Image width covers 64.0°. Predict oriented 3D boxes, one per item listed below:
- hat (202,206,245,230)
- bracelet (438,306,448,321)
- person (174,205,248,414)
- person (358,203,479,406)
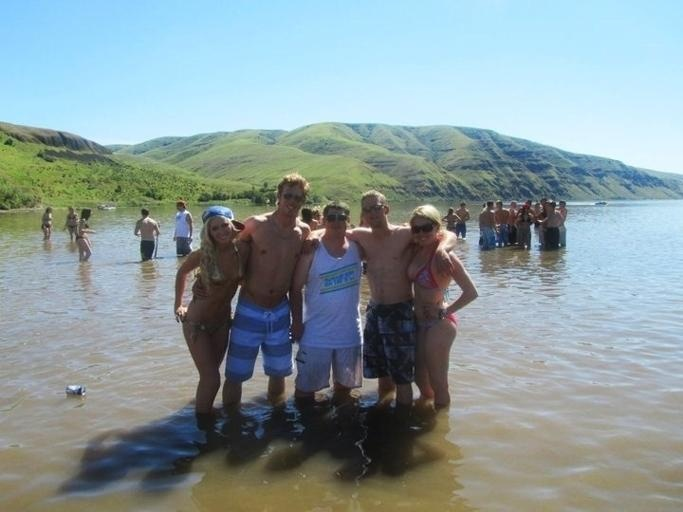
[{"bbox_3d":[-1.634,-0.476,7.697,0.576,0.262,0.355,5,14,-13],"label":"hat"},{"bbox_3d":[1.433,0.824,7.752,0.162,0.143,0.056,2,-2,-27],"label":"bracelet"},{"bbox_3d":[-1.852,0.799,7.806,0.974,2.936,0.664,-5,16,-15],"label":"person"},{"bbox_3d":[1.403,0.770,7.951,0.580,2.961,0.980,-10,17,-30],"label":"person"}]
